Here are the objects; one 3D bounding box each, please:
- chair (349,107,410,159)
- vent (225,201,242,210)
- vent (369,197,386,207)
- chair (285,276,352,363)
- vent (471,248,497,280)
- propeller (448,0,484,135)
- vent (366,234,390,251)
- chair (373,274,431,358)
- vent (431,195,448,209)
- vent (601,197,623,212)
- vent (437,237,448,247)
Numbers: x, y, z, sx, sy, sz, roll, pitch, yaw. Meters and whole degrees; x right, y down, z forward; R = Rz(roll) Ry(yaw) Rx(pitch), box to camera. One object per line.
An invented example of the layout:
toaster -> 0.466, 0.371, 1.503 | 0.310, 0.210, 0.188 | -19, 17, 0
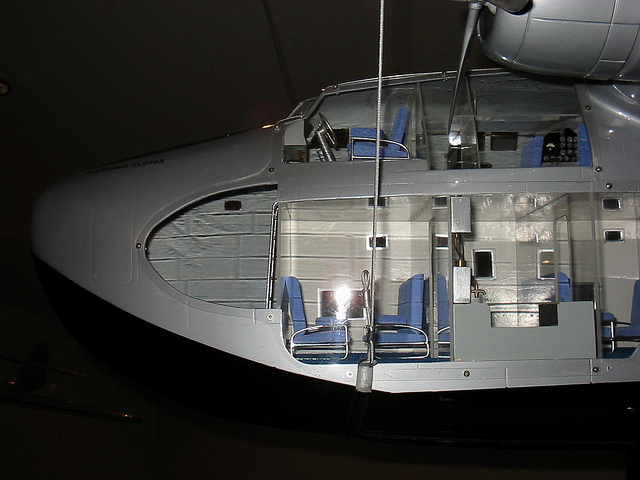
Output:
chair -> 0.429, -0.802, 4.534 | 0.479, 0.356, 0.414 | 1, 3, 1
vent -> -0.641, -0.263, 4.368 | 0.115, 0.051, 0.024 | 1, 0, 4
vent -> 0.417, -0.282, 4.253 | 0.126, 0.056, 0.076 | 2, -3, -1
chair -> 0.010, 0.686, 4.554 | 0.684, 0.681, 0.498 | -1, -16, 1
vent -> 1.323, 0.193, 4.760 | 0.032, 0.250, 0.216 | -1, -1, -42
propeller -> 1.034, -1.338, 4.190 | 0.239, 0.826, 0.849 | 0, -13, 12
vent -> 0.484, 0.013, 4.710 | 0.212, 0.120, 0.045 | 1, 3, -10
chair -> 0.620, 0.607, 4.831 | 0.446, 0.490, 0.708 | -5, -4, 3
vent -> 0.867, -0.285, 4.311 | 0.125, 0.077, 0.132 | 0, 0, 41
vent -> 2.110, -0.263, 4.276 | 0.163, 0.084, 0.125 | 0, -13, 11
vent -> 0.970, 0.011, 4.690 | 0.090, 0.053, 0.073 | 1, 8, 5
